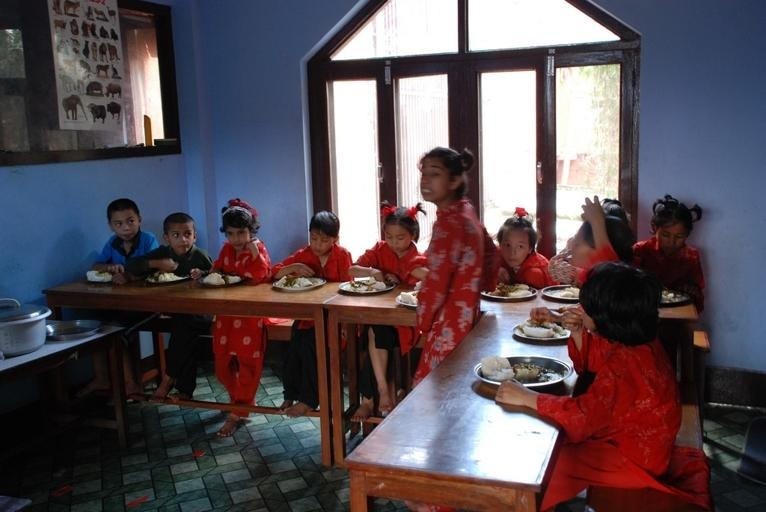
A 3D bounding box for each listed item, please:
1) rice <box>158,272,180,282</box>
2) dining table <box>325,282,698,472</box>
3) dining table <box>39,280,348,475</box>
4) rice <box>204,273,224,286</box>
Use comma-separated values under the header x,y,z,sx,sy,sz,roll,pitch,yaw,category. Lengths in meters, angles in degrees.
x,y,z,sx,sy,sz,roll,pitch,yaw,category
-1.561,0.163,3.958,0.086,0.032,0.084,-3,9,-41,rice
0.621,0.539,2.534,1.223,0.294,1.243,3,11,22,dining table
-1.212,0.772,3.809,1.907,1.117,0.329,0,9,14,dining table
-1.181,0.175,3.841,0.093,0.036,0.107,3,7,4,rice
